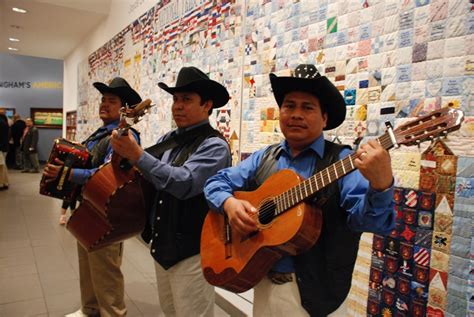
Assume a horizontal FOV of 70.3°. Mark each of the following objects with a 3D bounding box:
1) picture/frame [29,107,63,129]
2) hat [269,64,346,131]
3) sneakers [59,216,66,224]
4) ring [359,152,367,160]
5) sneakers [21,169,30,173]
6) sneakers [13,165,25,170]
[{"bbox_3d":[-7.993,-1.695,14.175,1.247,0.744,0.132,1,-8,-8],"label":"picture/frame"},{"bbox_3d":[0.493,-0.435,2.207,0.390,0.215,0.538,18,-26,25],"label":"hat"},{"bbox_3d":[-3.104,1.113,6.077,0.087,0.097,0.244,3,-6,-30],"label":"sneakers"},{"bbox_3d":[0.661,-0.017,1.784,0.026,0.029,0.029,39,-11,49],"label":"ring"},{"bbox_3d":[-7.692,0.443,12.335,0.328,0.129,0.120,5,11,5],"label":"sneakers"},{"bbox_3d":[-8.325,0.345,13.044,0.160,0.138,0.379,-2,3,21],"label":"sneakers"}]
